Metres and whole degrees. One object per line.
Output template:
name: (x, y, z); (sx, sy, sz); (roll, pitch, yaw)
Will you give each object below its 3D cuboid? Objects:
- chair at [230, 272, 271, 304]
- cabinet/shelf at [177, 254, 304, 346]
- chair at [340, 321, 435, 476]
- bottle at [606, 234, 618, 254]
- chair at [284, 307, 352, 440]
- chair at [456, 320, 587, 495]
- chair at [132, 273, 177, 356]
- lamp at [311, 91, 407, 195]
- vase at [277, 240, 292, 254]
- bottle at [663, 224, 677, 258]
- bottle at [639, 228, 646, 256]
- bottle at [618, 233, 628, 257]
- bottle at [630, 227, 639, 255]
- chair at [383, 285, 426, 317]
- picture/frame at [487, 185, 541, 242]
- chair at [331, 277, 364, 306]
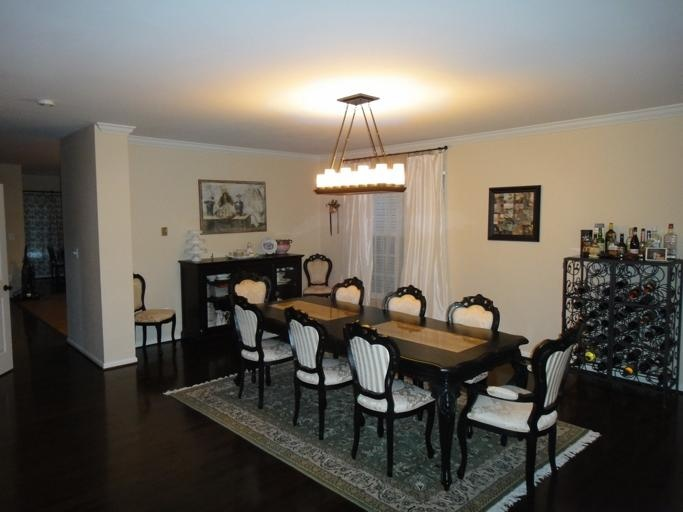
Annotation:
chair: (-1.175, 0.408, 6.445); (0.372, 0.581, 0.418); (-6, 12, -37)
cabinet/shelf: (-1.519, 0.657, 7.934); (1.938, 1.195, 0.570); (-5, -2, -41)
chair: (0.433, 1.195, 4.501); (0.758, 1.304, 0.730); (4, 8, 32)
bottle: (3.060, -0.152, 5.626); (0.128, 0.240, 0.181); (5, 12, 28)
chair: (-0.168, 1.121, 4.990); (0.686, 1.187, 0.611); (-1, 4, -43)
chair: (1.495, 1.198, 4.216); (0.852, 1.314, 0.891); (3, 9, 29)
chair: (-2.638, 0.755, 6.966); (0.633, 1.020, 0.692); (2, 5, 26)
lamp: (0.222, -1.179, 5.146); (0.427, 0.976, 1.022); (5, 14, 41)
vase: (-0.955, -0.167, 8.326); (0.240, 0.173, 0.209); (-1, -2, 2)
bottle: (3.556, -0.174, 5.365); (0.143, 0.369, 0.309); (7, 13, 32)
bottle: (3.335, -0.164, 5.506); (0.058, 0.283, 0.340); (5, 12, 28)
bottle: (3.129, -0.122, 5.539); (0.094, 0.232, 0.229); (3, 11, 20)
bottle: (3.278, -0.184, 5.546); (0.101, 0.280, 0.336); (6, 13, 31)
chair: (0.771, 0.517, 5.670); (0.383, 0.504, 0.354); (4, 5, 32)
picture/frame: (2.298, -0.568, 6.540); (0.708, 0.797, 0.060); (5, 6, 40)
chair: (0.081, 0.448, 6.239); (0.322, 0.510, 0.354); (9, 8, 34)
